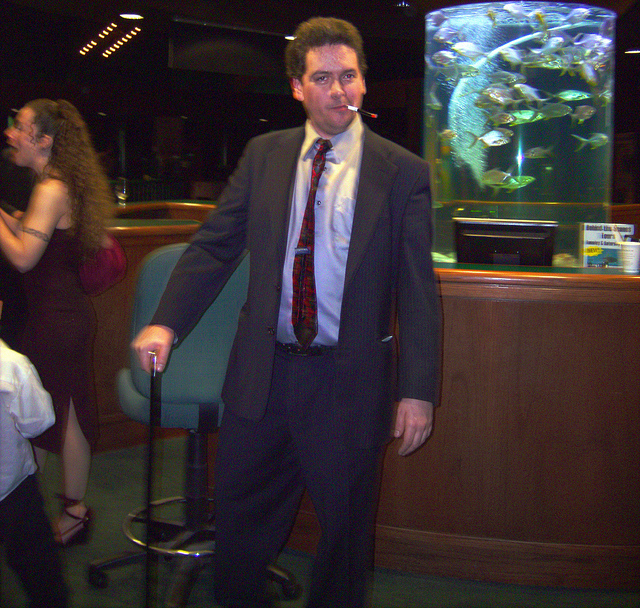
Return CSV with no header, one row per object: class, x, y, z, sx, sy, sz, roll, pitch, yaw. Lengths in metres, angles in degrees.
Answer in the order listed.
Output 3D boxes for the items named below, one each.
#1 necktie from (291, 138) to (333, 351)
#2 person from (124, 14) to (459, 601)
necktie,-0.011,-0.135,1.504,0.054,0.492,0.096,7,9,43
person,-0.062,0.070,1.592,0.714,1.495,0.258,1,7,0
